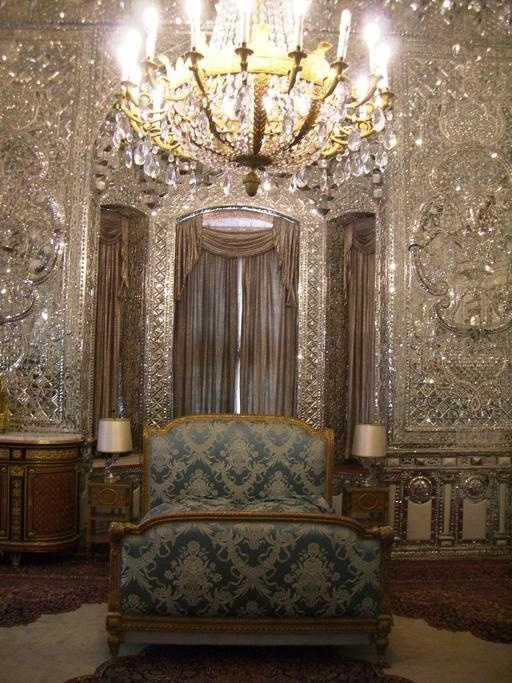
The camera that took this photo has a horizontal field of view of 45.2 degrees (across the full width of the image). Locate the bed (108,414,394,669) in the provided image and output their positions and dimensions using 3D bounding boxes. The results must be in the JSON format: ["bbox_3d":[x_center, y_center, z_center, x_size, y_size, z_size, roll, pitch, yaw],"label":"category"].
[{"bbox_3d":[-0.068,1.132,3.907,1.463,1.211,1.919,1,-4,-5],"label":"bed"}]

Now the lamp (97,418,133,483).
[{"bbox_3d":[-1.218,0.903,5.138,0.331,0.489,0.317,2,-5,14],"label":"lamp"}]
